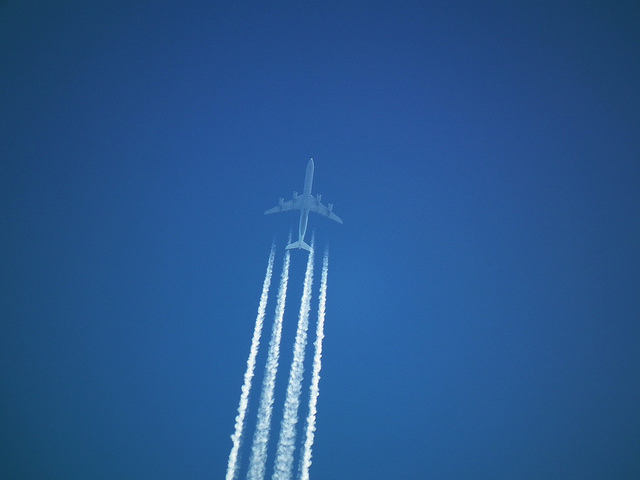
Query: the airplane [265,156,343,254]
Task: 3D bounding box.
[{"bbox_3d":[-0.583,-1.276,42.283,4.993,3.527,5.231,-7,-75,-16],"label":"airplane"}]
